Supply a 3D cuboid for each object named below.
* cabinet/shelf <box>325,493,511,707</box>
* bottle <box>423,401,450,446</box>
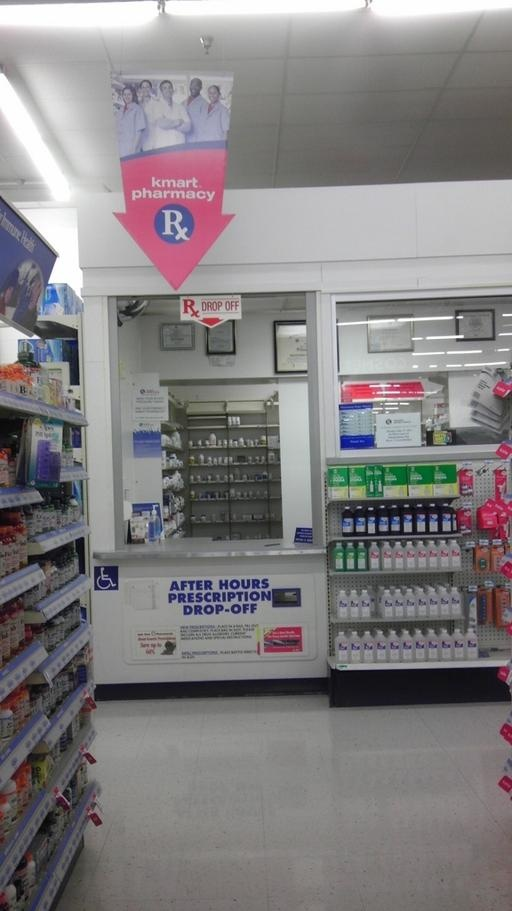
[{"bbox_3d":[0.998,0.909,4.162,1.137,1.250,0.487,-1,-5,-2],"label":"cabinet/shelf"},{"bbox_3d":[1.186,-0.199,4.481,0.122,0.451,0.226,0,-6,-4],"label":"bottle"}]
